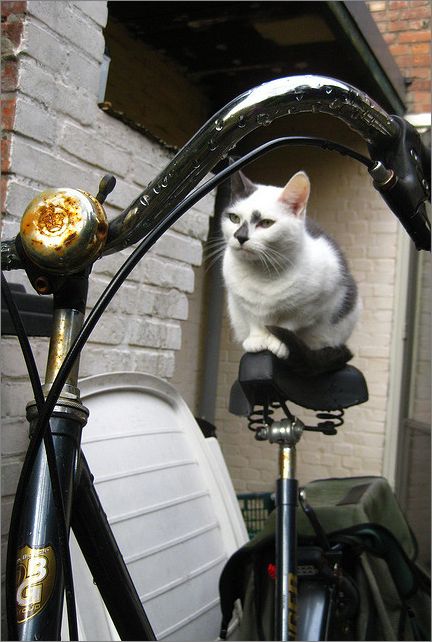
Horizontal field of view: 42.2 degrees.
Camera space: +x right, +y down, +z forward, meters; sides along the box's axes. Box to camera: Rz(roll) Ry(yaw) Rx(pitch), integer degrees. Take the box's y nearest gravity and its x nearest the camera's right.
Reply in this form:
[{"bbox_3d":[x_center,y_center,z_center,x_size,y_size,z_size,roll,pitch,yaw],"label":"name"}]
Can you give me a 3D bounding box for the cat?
[{"bbox_3d":[0.136,-0.103,1.069,0.235,0.321,0.342,8,5,38],"label":"cat"}]
